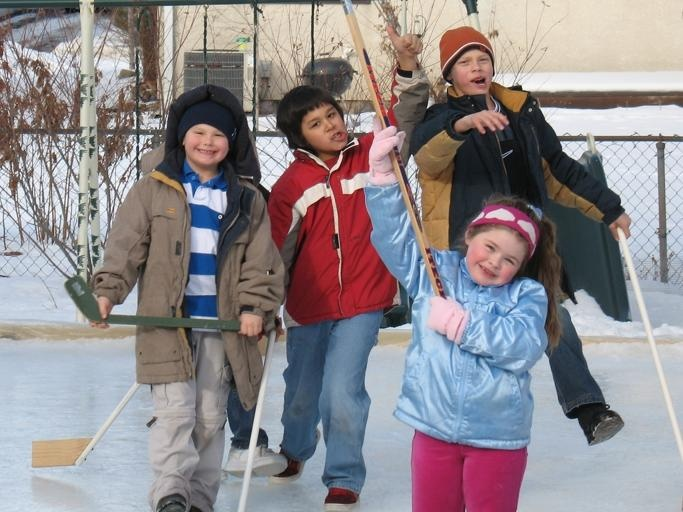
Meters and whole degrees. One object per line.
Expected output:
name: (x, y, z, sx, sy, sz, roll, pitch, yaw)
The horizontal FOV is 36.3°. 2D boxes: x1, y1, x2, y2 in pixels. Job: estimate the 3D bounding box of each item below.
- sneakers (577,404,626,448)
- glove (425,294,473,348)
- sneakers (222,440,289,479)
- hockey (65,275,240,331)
sneakers: (1.475, 0.961, 5.958, 0.253, 0.242, 0.124, 0, 3, 11)
glove: (0.517, 0.335, 5.233, 0.085, 0.212, 0.213, -45, 2, 45)
sneakers: (-0.498, 1.199, 6.038, 0.396, 0.233, 0.164, -3, -12, 8)
hockey: (-1.030, 0.252, 5.612, 0.879, 0.294, 0.145, 0, 3, -4)
